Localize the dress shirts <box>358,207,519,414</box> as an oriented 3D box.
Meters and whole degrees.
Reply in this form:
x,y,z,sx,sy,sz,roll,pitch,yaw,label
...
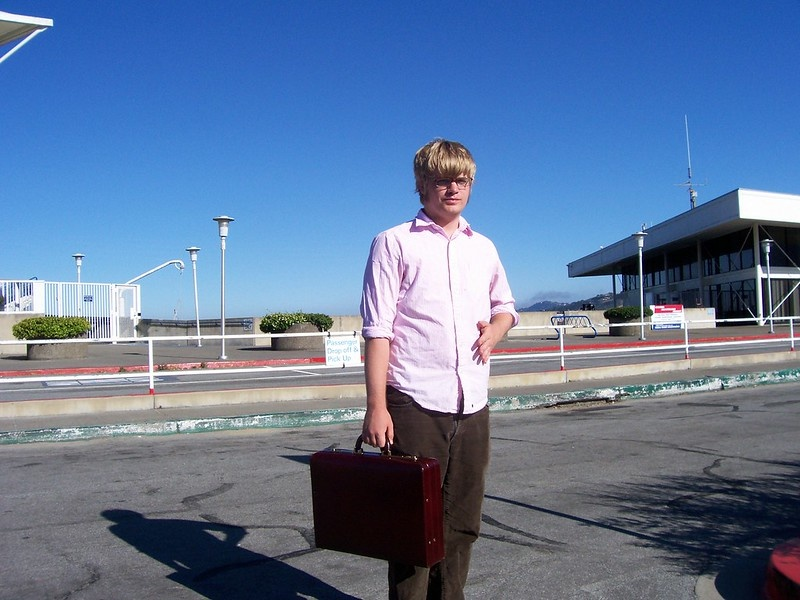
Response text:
x,y,z,sx,sy,sz,roll,pitch,yaw,label
0.220,0.069,3.741,0.888,1.143,0.346,-1,2,-10,dress shirts

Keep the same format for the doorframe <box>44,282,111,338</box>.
x,y,z,sx,sy,sz,roll,pitch,yaw,label
-11.698,0.437,23.688,2.308,2.159,0.191,1,2,1,doorframe

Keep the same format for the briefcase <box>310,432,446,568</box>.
x,y,z,sx,sy,sz,roll,pitch,yaw,label
-0.131,1.054,3.560,0.717,0.657,0.223,-1,0,33,briefcase
